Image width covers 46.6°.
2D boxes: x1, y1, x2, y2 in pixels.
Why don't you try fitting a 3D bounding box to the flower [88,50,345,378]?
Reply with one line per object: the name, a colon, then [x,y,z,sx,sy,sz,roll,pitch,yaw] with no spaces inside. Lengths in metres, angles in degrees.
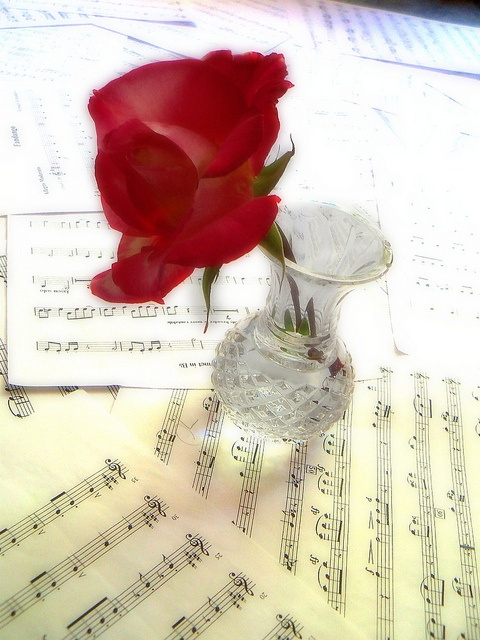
flower: [-0.021,-0.058,0.341,0.153,0.125,0.138,8,92,-35]
